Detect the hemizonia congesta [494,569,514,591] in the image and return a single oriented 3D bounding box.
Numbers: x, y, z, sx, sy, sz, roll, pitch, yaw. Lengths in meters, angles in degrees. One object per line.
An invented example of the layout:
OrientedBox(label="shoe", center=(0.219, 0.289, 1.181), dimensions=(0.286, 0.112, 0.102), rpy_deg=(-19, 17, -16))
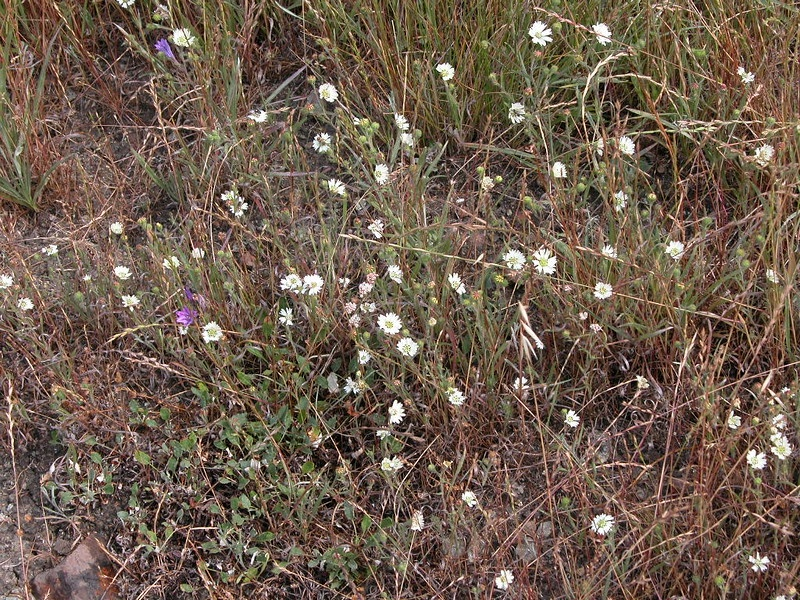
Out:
OrientedBox(label="hemizonia congesta", center=(0.398, 1.077, 2.519), dimensions=(0.070, 0.093, 0.024), rpy_deg=(-16, 15, 9))

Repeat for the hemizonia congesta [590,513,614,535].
OrientedBox(label="hemizonia congesta", center=(0.791, 0.867, 2.556), dimensions=(0.080, 0.086, 0.038), rpy_deg=(-26, -48, -15))
